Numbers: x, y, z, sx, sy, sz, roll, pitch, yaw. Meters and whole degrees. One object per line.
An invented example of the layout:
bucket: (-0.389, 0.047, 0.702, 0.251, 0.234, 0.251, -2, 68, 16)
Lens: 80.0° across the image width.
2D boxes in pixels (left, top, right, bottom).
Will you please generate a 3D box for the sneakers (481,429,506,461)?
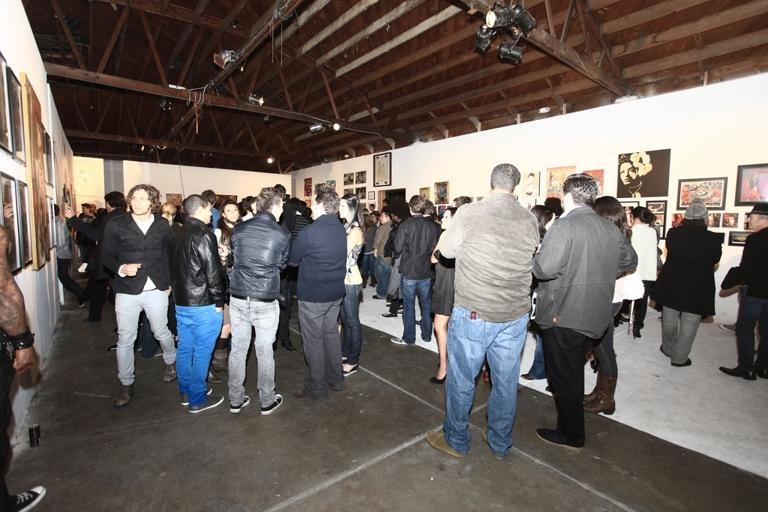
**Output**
sneakers: (1.177, 2.032, 4.864, 0.122, 0.147, 0.340, -1, 15, -5)

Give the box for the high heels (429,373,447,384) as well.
high heels: (0.693, 1.572, 5.784, 0.179, 0.071, 0.101, -4, 8, -8)

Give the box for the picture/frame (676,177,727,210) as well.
picture/frame: (5.767, -1.113, 8.205, 0.028, 0.658, 0.767, 5, 0, -41)

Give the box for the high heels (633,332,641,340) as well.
high heels: (4.036, 1.292, 7.256, 0.178, 0.060, 0.069, 2, 6, -44)

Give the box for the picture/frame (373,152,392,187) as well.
picture/frame: (-0.022, -2.732, 14.594, 0.127, 1.290, 1.100, 5, -7, -32)

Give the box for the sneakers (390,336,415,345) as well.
sneakers: (0.254, 1.302, 6.816, 0.247, 0.079, 0.132, 5, 2, 25)

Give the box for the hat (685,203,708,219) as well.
hat: (4.357, -0.615, 6.315, 0.221, 0.173, 0.334, 5, 33, 47)

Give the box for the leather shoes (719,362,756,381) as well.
leather shoes: (4.705, 1.557, 6.098, 0.143, 0.177, 0.407, 0, 3, -39)

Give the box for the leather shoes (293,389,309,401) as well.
leather shoes: (-1.001, 1.686, 5.481, 0.162, 0.074, 0.090, 3, 9, -24)

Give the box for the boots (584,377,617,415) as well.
boots: (2.566, 1.646, 5.421, 0.218, 0.434, 0.443, 6, -8, -32)

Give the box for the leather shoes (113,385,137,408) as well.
leather shoes: (-3.021, 1.633, 5.296, 0.208, 0.227, 0.130, -6, 9, -31)

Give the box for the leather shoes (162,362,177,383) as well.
leather shoes: (-2.711, 1.502, 5.763, 0.129, 0.162, 0.381, 2, -9, -5)

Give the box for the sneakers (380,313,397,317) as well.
sneakers: (0.081, 1.062, 7.980, 0.252, 0.103, 0.101, 3, -1, 6)

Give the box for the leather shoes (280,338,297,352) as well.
leather shoes: (-1.369, 1.305, 6.563, 0.103, 0.165, 0.326, -5, 5, -42)

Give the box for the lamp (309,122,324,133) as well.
lamp: (-1.830, -3.495, 12.501, 0.266, 0.175, 0.274, 2, 14, 10)

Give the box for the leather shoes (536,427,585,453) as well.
leather shoes: (1.910, 1.967, 4.969, 0.498, 0.170, 0.180, 11, 1, 21)

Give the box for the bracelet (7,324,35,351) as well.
bracelet: (-3.193, 0.729, 4.012, 0.185, 0.164, 0.217, -9, 0, -12)
